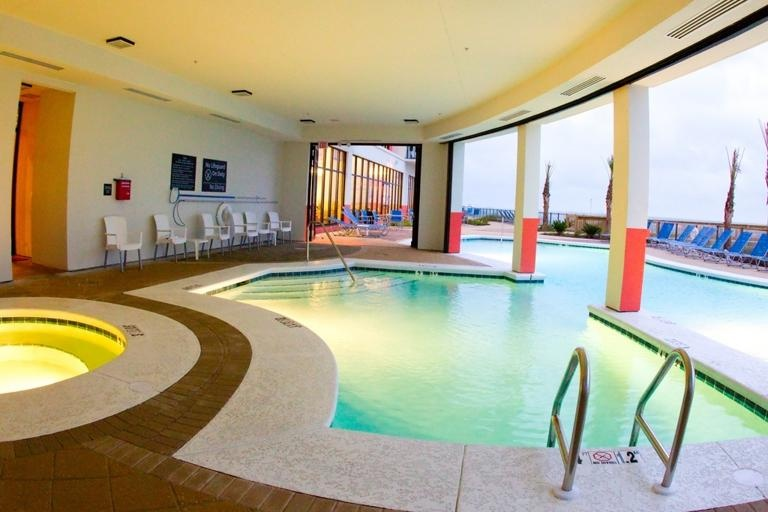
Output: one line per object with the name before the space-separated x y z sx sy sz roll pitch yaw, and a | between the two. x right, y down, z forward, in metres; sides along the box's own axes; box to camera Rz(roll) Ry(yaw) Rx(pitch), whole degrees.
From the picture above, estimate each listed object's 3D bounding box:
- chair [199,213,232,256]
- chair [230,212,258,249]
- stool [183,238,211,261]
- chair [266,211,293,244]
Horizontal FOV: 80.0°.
chair | -4.005 -0.542 10.888 0.630 0.716 0.630 1 7 27
chair | -3.700 -0.654 11.968 0.680 0.951 1.667 1 12 -19
stool | -4.293 -0.183 10.550 0.614 0.558 0.627 7 9 39
chair | -3.107 -0.879 13.612 0.863 1.139 0.826 2 3 29
